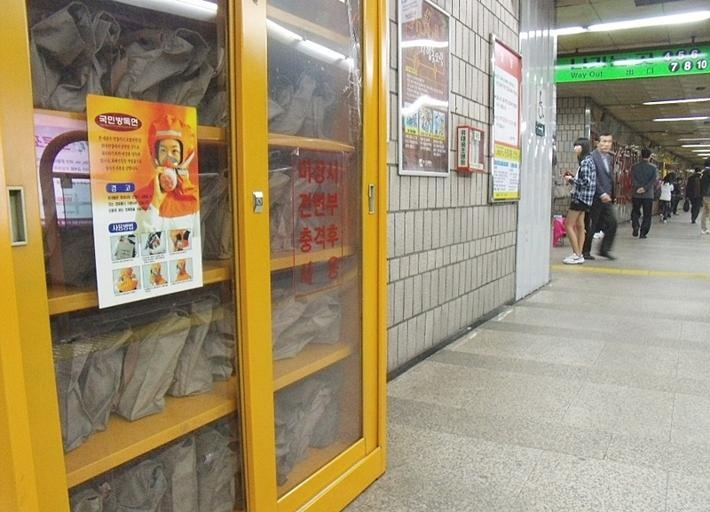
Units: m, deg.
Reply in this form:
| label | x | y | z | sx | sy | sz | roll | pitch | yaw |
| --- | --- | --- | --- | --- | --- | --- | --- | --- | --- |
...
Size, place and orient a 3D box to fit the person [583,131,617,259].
| label | x | y | z | sx | sy | sz | roll | pitch | yaw |
| --- | --- | --- | --- | --- | --- | --- | --- | --- | --- |
| person | 3.581 | -0.836 | 7.452 | 0.410 | 1.886 | 1.510 | 4 | 10 | 27 |
